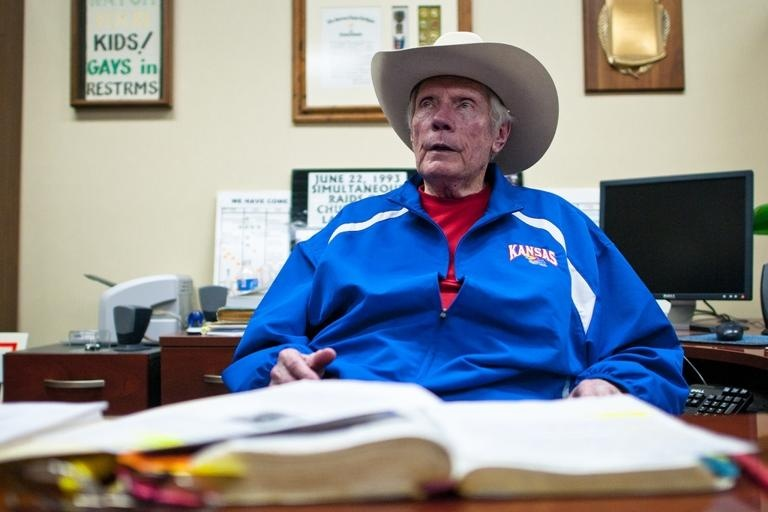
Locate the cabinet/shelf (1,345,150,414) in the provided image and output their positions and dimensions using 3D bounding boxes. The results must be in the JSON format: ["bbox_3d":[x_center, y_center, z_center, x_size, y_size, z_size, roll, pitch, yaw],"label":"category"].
[{"bbox_3d":[-1.149,0.455,3.246,0.313,0.247,0.331,-1,-2,0],"label":"cabinet/shelf"}]

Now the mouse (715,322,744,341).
[{"bbox_3d":[1.229,0.262,3.155,0.098,0.057,0.081,-10,16,-42],"label":"mouse"}]

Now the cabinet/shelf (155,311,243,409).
[{"bbox_3d":[-0.738,0.395,3.487,0.338,0.354,0.236,0,-2,-3],"label":"cabinet/shelf"}]

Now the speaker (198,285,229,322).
[{"bbox_3d":[-0.713,0.202,3.757,0.126,0.165,0.141,1,1,-10],"label":"speaker"}]

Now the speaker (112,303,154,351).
[{"bbox_3d":[-0.996,0.266,3.498,0.146,0.186,0.154,-1,-2,10],"label":"speaker"}]

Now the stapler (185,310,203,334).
[{"bbox_3d":[-0.749,0.264,3.538,0.074,0.082,0.070,4,-3,-41],"label":"stapler"}]

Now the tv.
[{"bbox_3d":[1.099,-0.017,3.346,0.579,0.611,0.198,0,-5,10],"label":"tv"}]

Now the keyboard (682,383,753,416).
[{"bbox_3d":[1.163,0.492,3.102,0.151,0.051,0.169,-15,16,29],"label":"keyboard"}]
